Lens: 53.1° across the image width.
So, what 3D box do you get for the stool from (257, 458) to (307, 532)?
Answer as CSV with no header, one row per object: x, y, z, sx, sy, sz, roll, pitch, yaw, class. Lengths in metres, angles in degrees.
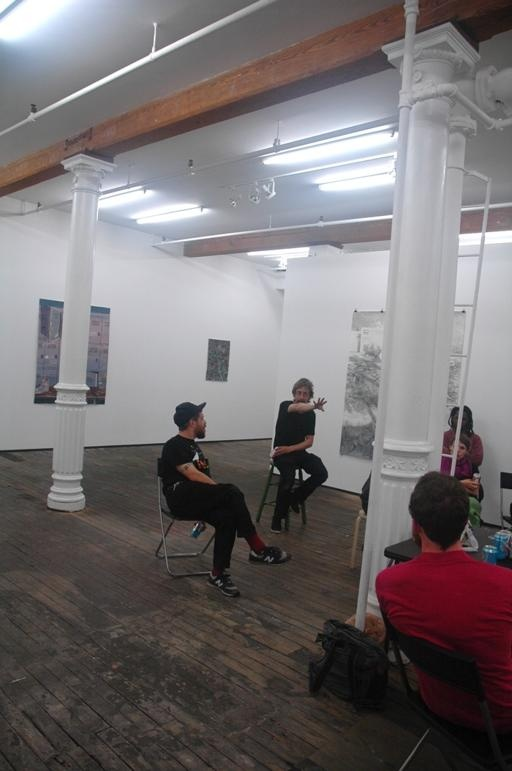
0.348,1.251,5.956,0.549,0.699,0.538,8,-9,-5,stool

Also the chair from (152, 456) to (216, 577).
-0.548,1.111,4.350,0.577,0.854,0.605,8,-3,-14,chair

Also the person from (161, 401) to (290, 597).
-0.382,0.833,3.965,0.790,0.956,0.372,2,-3,31,person

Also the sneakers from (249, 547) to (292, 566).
0.125,1.414,4.223,0.321,0.134,0.155,-1,-1,-2,sneakers

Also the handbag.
0.481,1.330,2.553,0.362,0.357,0.270,8,6,37,handbag

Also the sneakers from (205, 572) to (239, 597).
-0.235,1.448,3.770,0.265,0.117,0.092,12,8,40,sneakers
